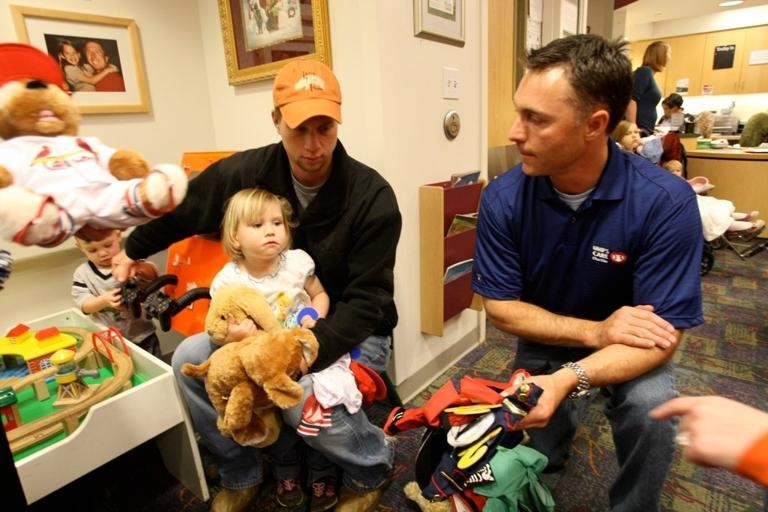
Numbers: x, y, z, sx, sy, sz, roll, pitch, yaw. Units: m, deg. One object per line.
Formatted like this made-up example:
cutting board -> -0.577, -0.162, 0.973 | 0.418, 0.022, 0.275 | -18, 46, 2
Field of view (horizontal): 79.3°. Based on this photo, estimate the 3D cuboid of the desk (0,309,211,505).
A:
desk -> -1.257, 0.782, 2.099 | 0.725, 0.450, 0.730 | 29, 41, 36

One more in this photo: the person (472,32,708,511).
person -> 0.851, 0.108, 2.024 | 0.910, 2.016, 0.739 | 7, 22, 32

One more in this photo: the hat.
hat -> -0.344, -0.745, 2.094 | 0.288, 0.302, 0.300 | -17, 22, -30

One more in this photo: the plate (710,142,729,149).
plate -> 4.118, -1.371, 5.697 | 0.169, 0.062, 0.169 | 1, 10, 2

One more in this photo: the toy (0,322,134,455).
toy -> -1.271, 0.636, 2.139 | 0.415, 0.194, 0.587 | 32, 59, 30

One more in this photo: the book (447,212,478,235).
book -> 0.439, -0.185, 2.640 | 0.159, 0.125, 0.016 | -13, 33, -41

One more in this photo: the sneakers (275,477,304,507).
sneakers -> -0.436, 1.114, 2.227 | 0.074, 0.127, 0.188 | -4, 1, -43

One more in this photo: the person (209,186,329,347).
person -> -0.475, -0.008, 2.364 | 0.667, 0.897, 0.630 | -7, 11, -18
